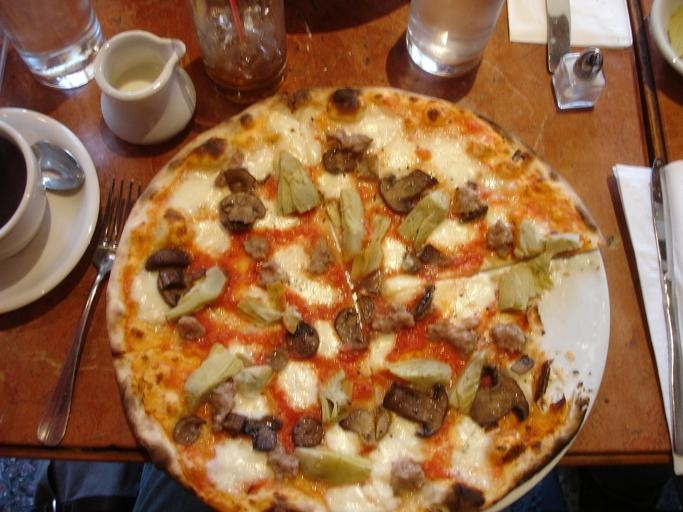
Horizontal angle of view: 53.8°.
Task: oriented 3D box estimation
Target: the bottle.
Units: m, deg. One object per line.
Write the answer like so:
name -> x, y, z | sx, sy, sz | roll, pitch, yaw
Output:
bottle -> 0.740, -0.575, 2.071 | 0.128, 0.227, 0.176 | 11, 76, 6

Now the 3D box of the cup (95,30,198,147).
cup -> -0.587, -0.490, 1.992 | 0.236, 0.243, 0.333 | 5, 61, -1

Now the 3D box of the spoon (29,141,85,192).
spoon -> -0.840, -0.242, 1.977 | 0.165, 0.232, 0.064 | 14, 67, -20
